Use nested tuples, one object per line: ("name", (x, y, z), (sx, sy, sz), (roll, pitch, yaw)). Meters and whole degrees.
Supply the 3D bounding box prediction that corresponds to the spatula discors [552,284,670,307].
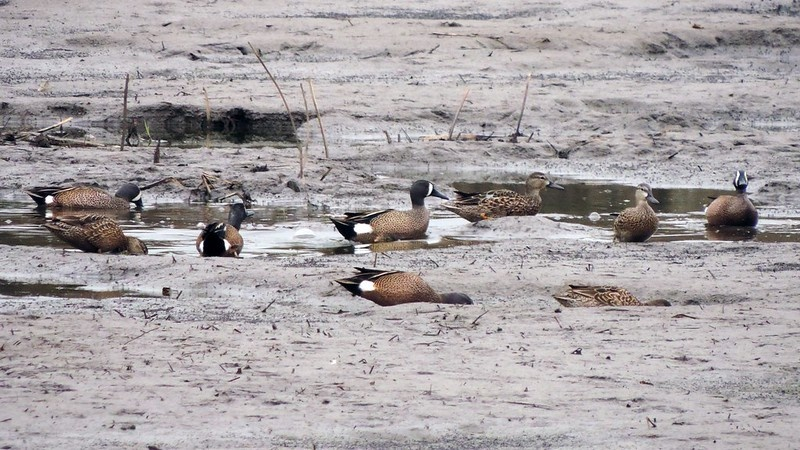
("spatula discors", (4.196, 1.447, 22.988), (1.862, 0.533, 0.723), (4, 15, 1))
